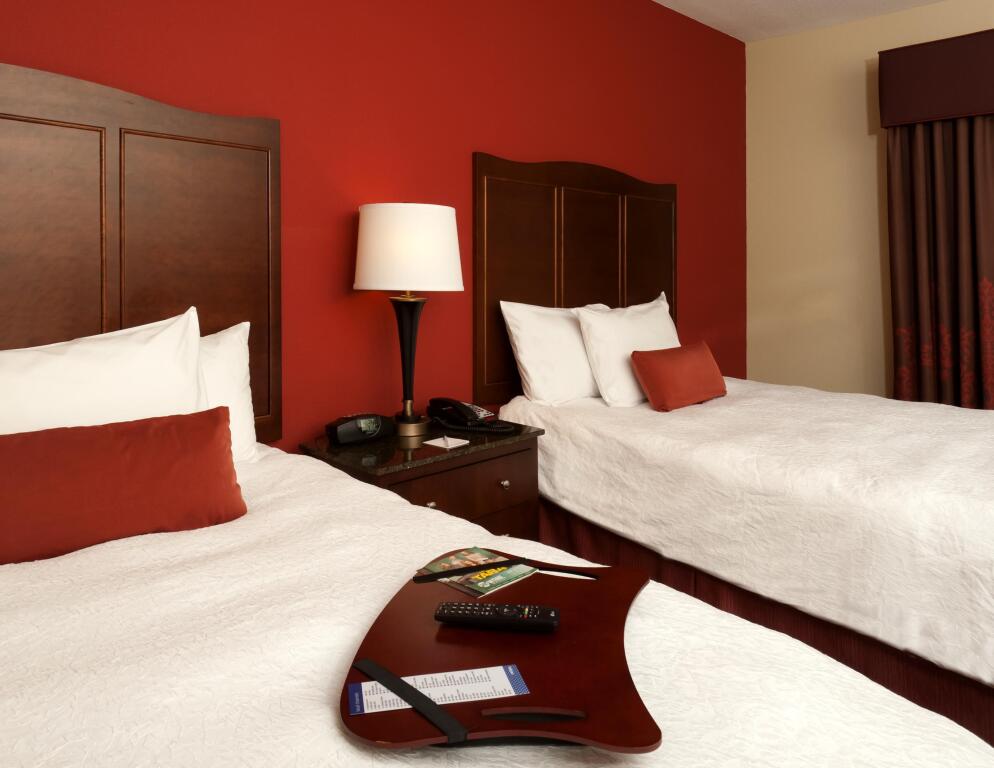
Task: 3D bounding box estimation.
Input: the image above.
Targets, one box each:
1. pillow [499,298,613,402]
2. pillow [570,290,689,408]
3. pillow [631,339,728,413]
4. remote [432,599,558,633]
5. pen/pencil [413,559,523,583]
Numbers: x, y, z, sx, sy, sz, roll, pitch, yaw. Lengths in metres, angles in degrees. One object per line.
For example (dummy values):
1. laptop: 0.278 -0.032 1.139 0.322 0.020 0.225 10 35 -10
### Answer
1. pillow: 0.238 -0.155 3.302 0.475 0.459 0.129 -3 -22 -30
2. pillow: 0.580 -0.137 3.348 0.516 0.473 0.144 -5 -15 -41
3. pillow: 0.767 -0.030 3.235 0.456 0.277 0.132 -9 -18 -41
4. remote: 0.008 0.400 1.283 0.246 0.039 0.075 2 10 4
5. pen/pencil: -0.063 0.373 1.451 0.138 0.013 0.023 -2 5 -31
